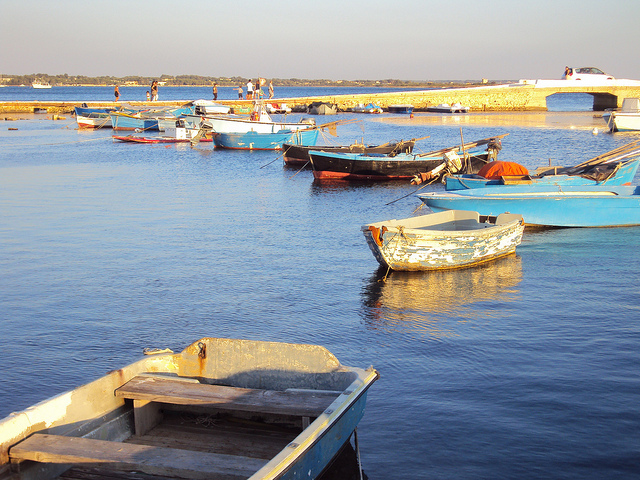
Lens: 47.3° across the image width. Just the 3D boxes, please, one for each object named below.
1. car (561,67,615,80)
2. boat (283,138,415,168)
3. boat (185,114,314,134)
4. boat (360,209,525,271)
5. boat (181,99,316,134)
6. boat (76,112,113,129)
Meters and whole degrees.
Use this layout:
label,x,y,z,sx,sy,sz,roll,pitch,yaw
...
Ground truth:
label,x,y,z,sx,sy,sz,roll,pitch,yaw
car,35.353,-22.076,96.966,3.042,1.537,4.662,-7,13,-27
boat,1.159,-3.943,33.302,5.767,0.702,1.151,1,16,13
boat,-5.802,-6.896,45.606,11.703,1.237,2.218,6,12,21
boat,3.009,0.013,17.249,3.732,0.704,1.833,-6,10,-34
boat,-4.347,-7.729,44.756,9.027,1.540,2.031,1,-21,-6
boat,-18.881,-10.035,61.074,1.705,1.324,3.232,1,11,11
